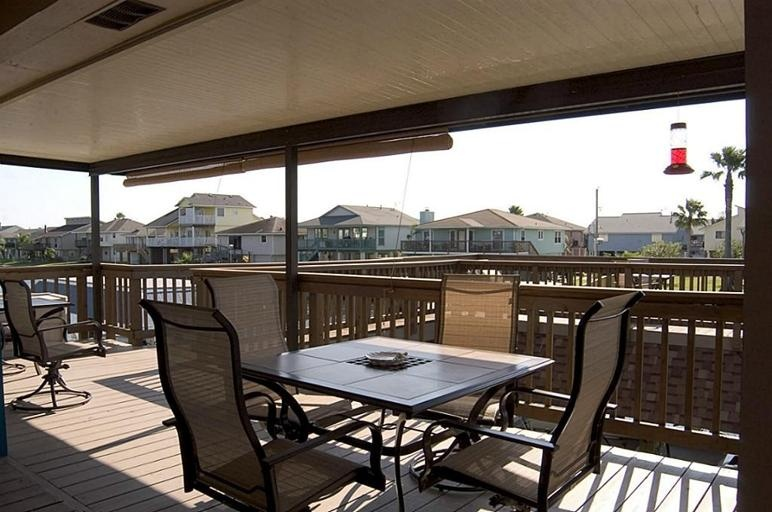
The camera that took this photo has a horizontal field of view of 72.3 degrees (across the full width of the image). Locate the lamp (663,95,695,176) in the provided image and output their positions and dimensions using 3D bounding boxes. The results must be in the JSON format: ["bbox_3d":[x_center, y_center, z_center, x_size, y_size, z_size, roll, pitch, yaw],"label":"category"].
[{"bbox_3d":[2.891,-1.050,5.169,0.268,0.516,0.383,4,14,27],"label":"lamp"}]

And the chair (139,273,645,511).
[{"bbox_3d":[-0.046,0.775,3.731,2.979,1.110,1.633,-3,-2,40],"label":"chair"}]
